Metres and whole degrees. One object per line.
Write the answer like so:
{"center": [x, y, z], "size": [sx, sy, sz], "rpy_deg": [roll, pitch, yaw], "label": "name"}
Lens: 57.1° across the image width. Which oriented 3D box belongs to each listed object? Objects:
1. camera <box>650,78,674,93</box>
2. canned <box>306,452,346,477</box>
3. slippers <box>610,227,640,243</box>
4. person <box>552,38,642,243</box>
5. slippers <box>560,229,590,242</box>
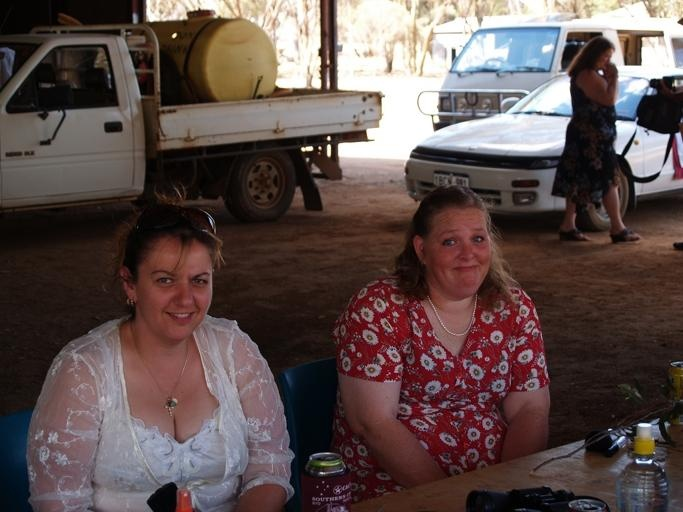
{"center": [4.743, -2.527, 9.296], "size": [0.263, 0.097, 0.242], "rpy_deg": [-1, 45, 6], "label": "camera"}
{"center": [-0.041, 0.538, 1.625], "size": [0.103, 0.042, 0.099], "rpy_deg": [-2, 13, -2], "label": "canned"}
{"center": [4.021, -0.302, 8.924], "size": [0.396, 0.158, 0.202], "rpy_deg": [-4, 9, -10], "label": "slippers"}
{"center": [3.395, -1.515, 8.521], "size": [1.052, 2.777, 0.443], "rpy_deg": [-5, 14, -15], "label": "person"}
{"center": [3.357, -0.295, 9.035], "size": [0.422, 0.146, 0.163], "rpy_deg": [1, 6, 22], "label": "slippers"}
